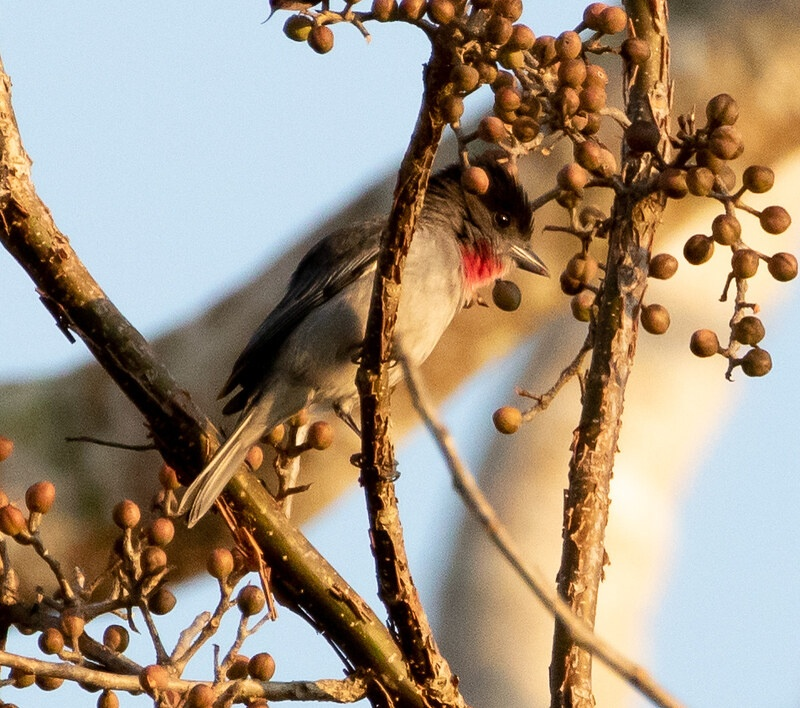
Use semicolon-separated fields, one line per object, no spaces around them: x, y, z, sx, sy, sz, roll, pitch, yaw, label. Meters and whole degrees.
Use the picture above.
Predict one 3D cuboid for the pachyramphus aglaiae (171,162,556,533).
-0.115;-0.206;6.453;1.793;0.767;1.533;-12;-92;-16;pachyramphus aglaiae
